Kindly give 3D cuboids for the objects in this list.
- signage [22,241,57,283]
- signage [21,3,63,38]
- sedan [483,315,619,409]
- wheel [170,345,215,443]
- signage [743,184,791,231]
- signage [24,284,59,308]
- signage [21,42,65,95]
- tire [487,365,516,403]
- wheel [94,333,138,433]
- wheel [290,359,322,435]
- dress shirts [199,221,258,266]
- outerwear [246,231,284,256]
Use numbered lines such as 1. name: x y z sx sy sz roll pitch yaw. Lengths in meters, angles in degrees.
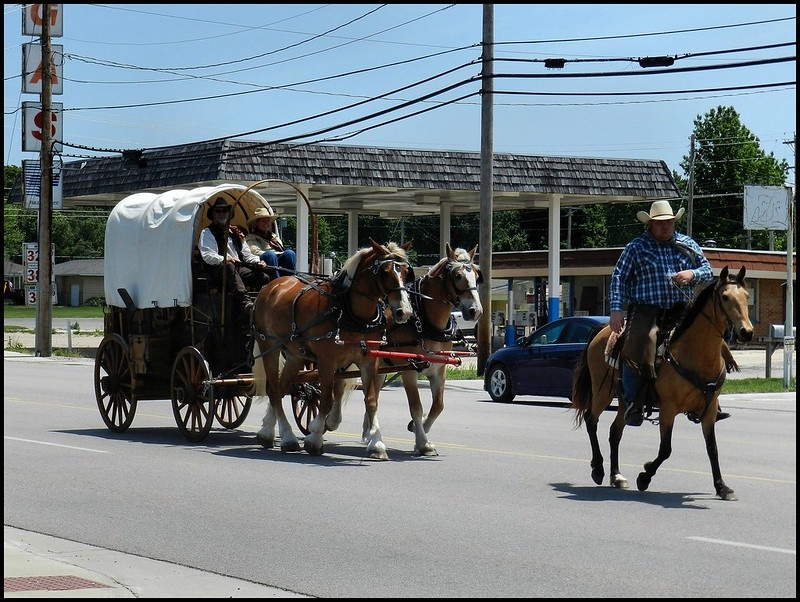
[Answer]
1. signage: -13.316 -1.469 43.625 1.031 1.530 1.001 4 14 -2
2. signage: -12.436 -9.774 41.452 1.310 1.184 2.259 1 0 -18
3. sedan: 2.674 1.159 23.677 2.511 1.150 1.418 1 -2 42
4. wheel: -3.021 1.341 17.471 0.379 1.241 1.241 -1 9 -31
5. signage: 9.944 -2.540 32.159 1.161 1.247 0.999 1 0 16
6. signage: -13.761 -0.191 45.587 0.255 1.405 1.982 -2 -3 28
7. signage: -12.357 -8.006 41.264 1.318 1.691 0.814 1 0 -20
8. tire: 2.156 1.716 24.758 0.258 0.739 0.750 5 2 -32
9. wheel: -4.431 1.306 18.682 0.439 1.351 1.355 1 9 -28
10. wheel: -1.366 1.407 17.662 0.401 1.180 1.179 1 -6 -24
11. dress shirts: -2.560 -0.865 18.171 0.917 0.715 0.890 -8 -5 -5
12. outerwear: -2.142 -0.890 18.875 0.338 0.278 0.575 -5 -3 41
